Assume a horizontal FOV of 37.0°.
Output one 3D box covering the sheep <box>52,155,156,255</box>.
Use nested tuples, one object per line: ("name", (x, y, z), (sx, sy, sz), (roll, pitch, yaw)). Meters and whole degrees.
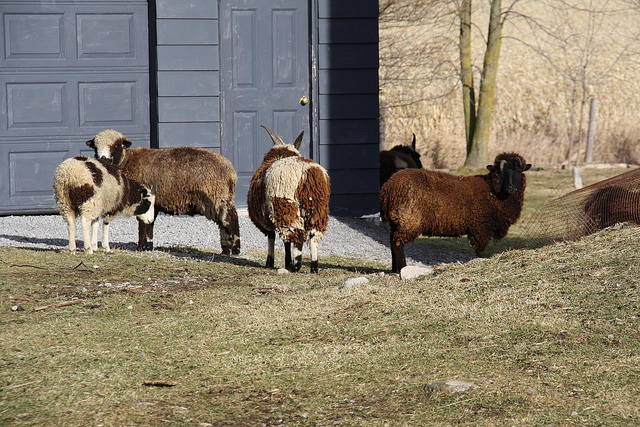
("sheep", (-3.460, -0.045, 15.124), (0.934, 1.366, 2.149), (-7, -6, 19))

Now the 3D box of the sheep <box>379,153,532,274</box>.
("sheep", (2.057, 0.039, 14.816), (2.606, 1.793, 0.897), (0, 0, -17))

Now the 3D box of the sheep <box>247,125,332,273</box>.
("sheep", (-0.457, -0.196, 14.497), (0.853, 2.214, 1.117), (-5, 5, -37))
